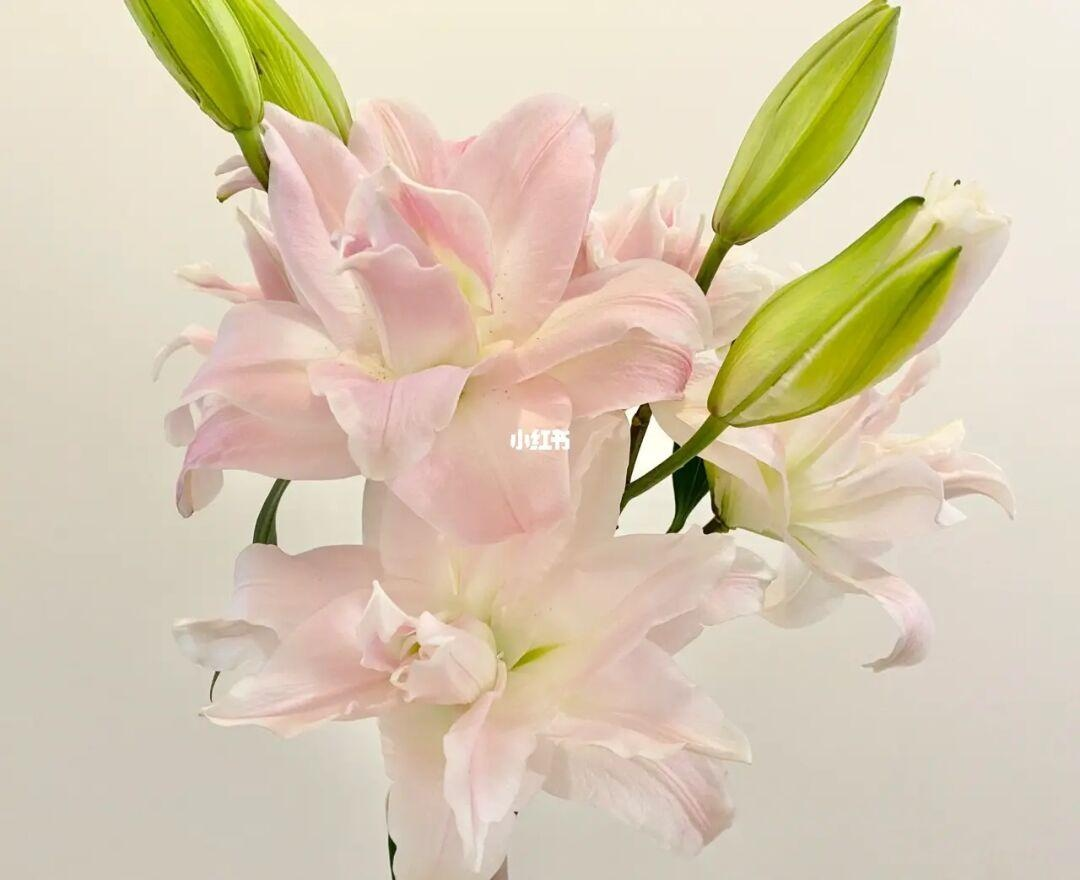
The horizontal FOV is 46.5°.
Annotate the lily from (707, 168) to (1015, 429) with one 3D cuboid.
[{"bbox_3d":[0.219,-0.071,0.861,0.187,0.071,0.107,-39,41,13],"label":"lily"}]

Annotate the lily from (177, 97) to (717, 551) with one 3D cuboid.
[{"bbox_3d":[-0.073,-0.051,0.904,0.451,0.473,0.238,-5,87,22],"label":"lily"}]

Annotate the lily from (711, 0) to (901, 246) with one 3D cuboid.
[{"bbox_3d":[0.181,-0.213,0.910,0.077,0.073,0.209,36,102,13],"label":"lily"}]

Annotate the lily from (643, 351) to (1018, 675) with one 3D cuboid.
[{"bbox_3d":[0.192,0.033,0.913,0.225,0.232,0.156,23,77,-20],"label":"lily"}]
